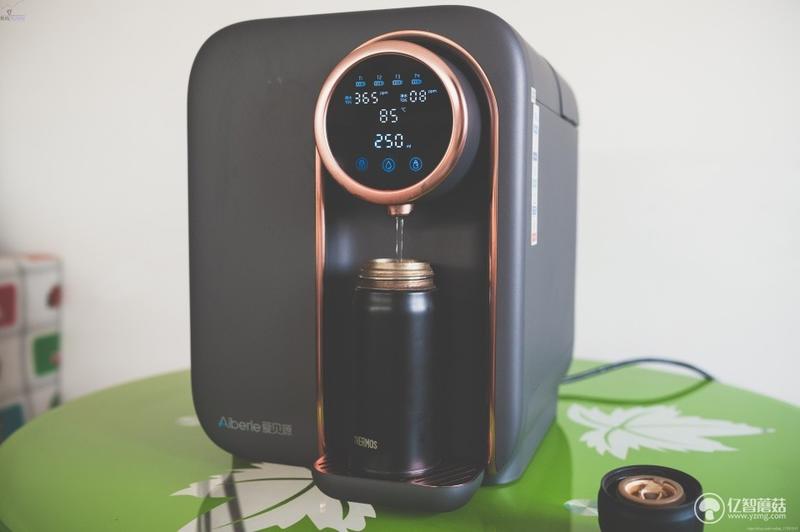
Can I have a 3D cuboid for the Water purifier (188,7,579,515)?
[{"bbox_3d":[-0.025,-0.028,0.973,0.433,0.569,0.585,0,1,20],"label":"Water purifier"}]
